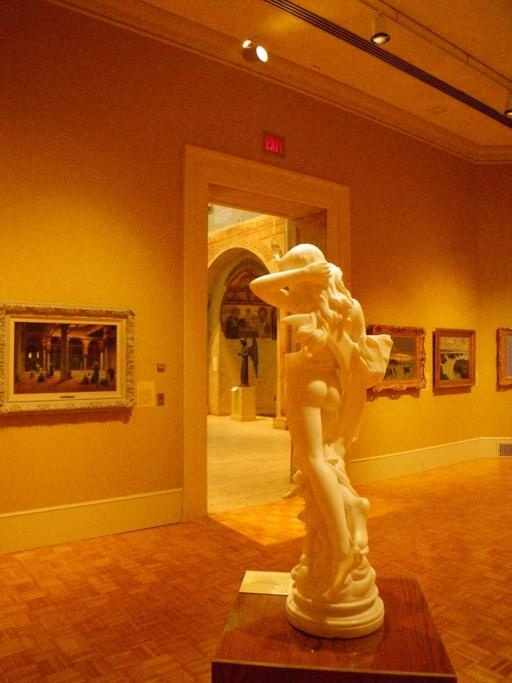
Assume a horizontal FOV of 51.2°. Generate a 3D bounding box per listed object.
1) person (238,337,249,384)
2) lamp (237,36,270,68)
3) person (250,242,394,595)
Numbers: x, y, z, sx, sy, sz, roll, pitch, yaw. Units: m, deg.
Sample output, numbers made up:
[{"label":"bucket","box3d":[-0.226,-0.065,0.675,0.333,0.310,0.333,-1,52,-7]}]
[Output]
[{"label":"person","box3d":[-0.388,0.639,17.430,0.308,1.538,0.711,0,-4,0]},{"label":"lamp","box3d":[-0.062,-3.156,5.786,0.355,0.352,0.172,-3,-5,35]},{"label":"person","box3d":[0.316,0.272,2.600,0.535,1.562,0.600,-3,-5,35]}]
